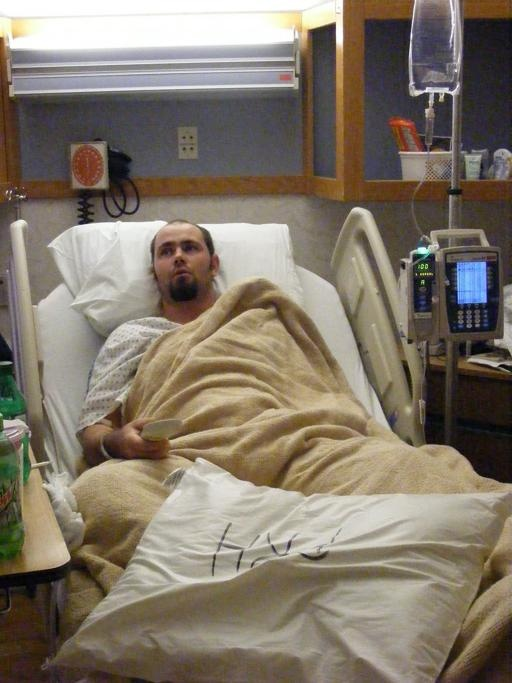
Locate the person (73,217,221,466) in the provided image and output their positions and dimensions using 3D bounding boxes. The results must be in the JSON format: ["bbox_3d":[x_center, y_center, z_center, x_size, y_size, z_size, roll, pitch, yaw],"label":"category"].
[{"bbox_3d":[-0.444,-0.158,2.231,0.650,0.248,1.037,-1,33,-17],"label":"person"}]

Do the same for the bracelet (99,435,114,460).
[{"bbox_3d":[-0.373,0.266,1.472,0.040,0.059,0.021,-2,-20,2],"label":"bracelet"}]

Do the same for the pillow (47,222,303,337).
[{"bbox_3d":[-0.301,-0.244,2.446,0.815,0.512,0.231,-2,-20,-6],"label":"pillow"}]

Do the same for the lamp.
[{"bbox_3d":[-0.402,-1.116,2.353,1.143,0.255,0.100,-3,9,-3],"label":"lamp"}]
